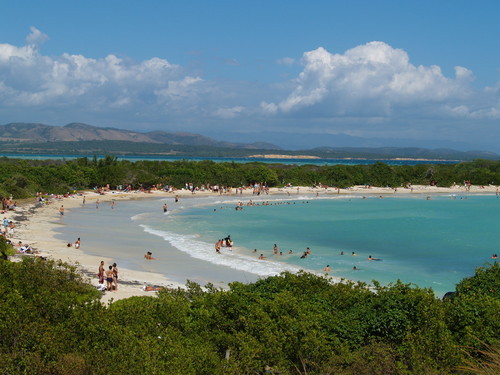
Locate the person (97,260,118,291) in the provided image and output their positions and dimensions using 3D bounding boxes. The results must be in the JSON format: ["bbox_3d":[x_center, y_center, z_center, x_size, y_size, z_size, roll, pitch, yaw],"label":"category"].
[{"bbox_3d":[-7.525,4.719,24.728,1.115,1.305,0.473,4,11,18],"label":"person"}]
